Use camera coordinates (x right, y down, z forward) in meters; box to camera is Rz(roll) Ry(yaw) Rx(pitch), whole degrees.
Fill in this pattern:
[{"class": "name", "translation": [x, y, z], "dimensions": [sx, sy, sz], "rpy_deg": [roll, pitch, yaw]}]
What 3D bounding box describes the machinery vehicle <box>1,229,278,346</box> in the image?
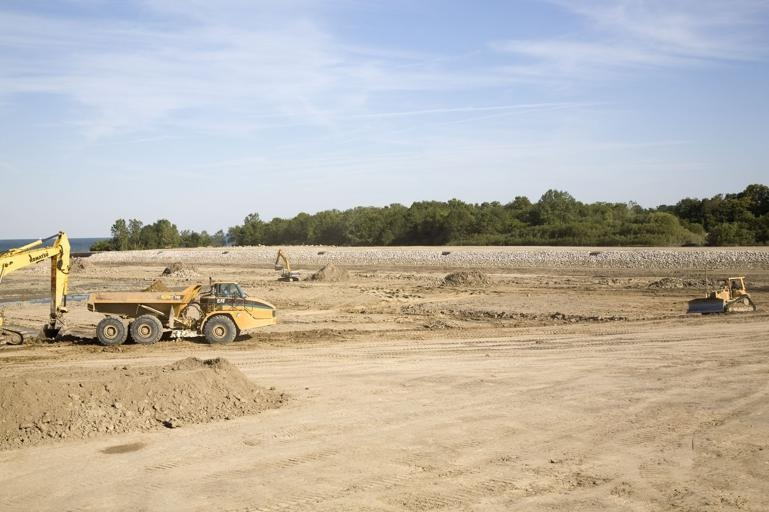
[{"class": "machinery vehicle", "translation": [-8.340, 1.110, 21.522], "dimensions": [8.408, 4.151, 3.158], "rpy_deg": [3, 11, 20]}]
